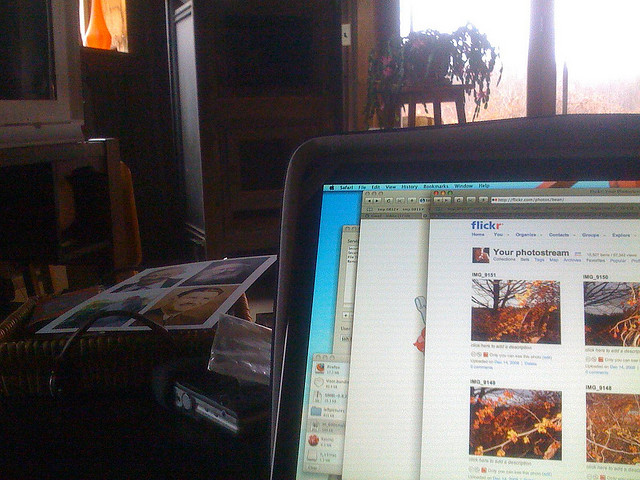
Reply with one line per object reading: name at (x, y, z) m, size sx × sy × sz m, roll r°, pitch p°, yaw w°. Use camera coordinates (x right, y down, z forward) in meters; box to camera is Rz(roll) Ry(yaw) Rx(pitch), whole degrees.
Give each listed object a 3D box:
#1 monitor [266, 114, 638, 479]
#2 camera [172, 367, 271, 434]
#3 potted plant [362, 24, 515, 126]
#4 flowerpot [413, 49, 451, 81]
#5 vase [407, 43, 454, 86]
monitor at (0.142, 0.065, 0.544) m, size 0.352 × 0.325 × 0.115 m, roll 0°, pitch -4°, yaw 10°
camera at (-0.121, 0.192, 0.701) m, size 0.095 × 0.032 × 0.071 m, roll 6°, pitch 2°, yaw 39°
potted plant at (0.451, -0.620, 2.149) m, size 0.421 × 0.370 × 0.585 m, roll -9°, pitch 10°, yaw 4°
flowerpot at (0.403, -0.627, 1.995) m, size 0.096 × 0.098 × 0.147 m, roll -3°, pitch 10°, yaw -19°
vase at (0.397, -0.633, 2.008) m, size 0.104 × 0.136 × 0.207 m, roll -3°, pitch 11°, yaw -22°
